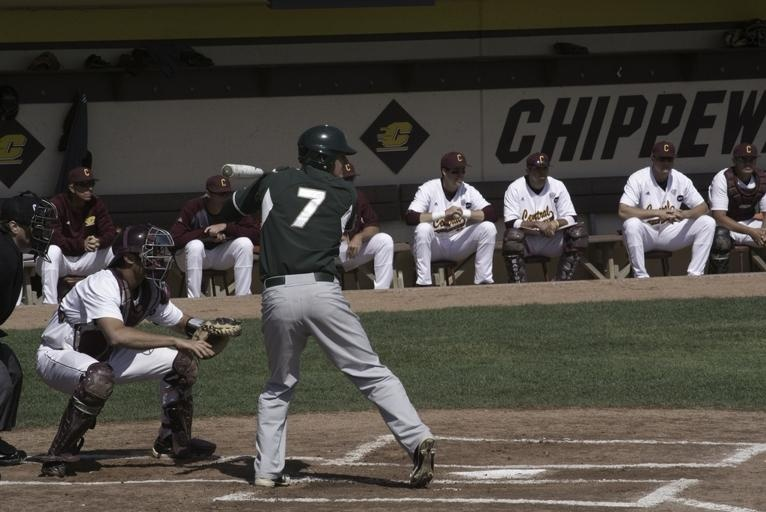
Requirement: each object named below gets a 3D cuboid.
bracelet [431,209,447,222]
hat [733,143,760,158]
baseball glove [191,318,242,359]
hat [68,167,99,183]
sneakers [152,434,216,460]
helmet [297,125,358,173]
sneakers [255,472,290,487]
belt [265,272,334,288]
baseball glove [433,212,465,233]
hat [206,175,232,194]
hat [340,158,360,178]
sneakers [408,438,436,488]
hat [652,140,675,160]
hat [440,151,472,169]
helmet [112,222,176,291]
[{"bbox_3d":[0.645,-0.442,16.883,0.160,0.088,0.069,-12,-21,17],"label":"bracelet"},{"bbox_3d":[4.334,-1.230,17.420,0.267,0.188,0.250,0,0,10],"label":"hat"},{"bbox_3d":[-1.496,0.709,13.183,0.421,0.290,0.171,-7,19,16],"label":"baseball glove"},{"bbox_3d":[-3.514,-0.896,16.833,0.267,0.139,0.197,-5,3,35],"label":"hat"},{"bbox_3d":[-1.826,1.801,13.312,0.461,0.164,0.253,0,5,-9],"label":"sneakers"},{"bbox_3d":[-0.540,-0.916,13.072,0.494,0.362,0.376,14,-4,-9],"label":"helmet"},{"bbox_3d":[-0.967,1.992,12.707,0.226,0.075,0.131,4,-5,-11],"label":"sneakers"},{"bbox_3d":[-0.728,0.234,12.704,0.629,0.133,0.167,0,0,-4],"label":"belt"},{"bbox_3d":[0.780,-0.356,16.928,0.293,0.096,0.210,-7,4,-31],"label":"baseball glove"},{"bbox_3d":[-1.887,-0.813,16.690,0.360,0.186,0.265,4,10,43],"label":"hat"},{"bbox_3d":[-0.413,-0.983,17.168,0.274,0.190,0.347,0,-3,-19],"label":"hat"},{"bbox_3d":[0.327,1.829,12.677,0.194,0.452,0.236,5,2,-17],"label":"sneakers"},{"bbox_3d":[3.321,-1.219,17.257,0.193,0.138,0.259,1,5,-1],"label":"hat"},{"bbox_3d":[0.804,-1.098,17.103,0.224,0.163,0.296,-5,6,-29],"label":"hat"},{"bbox_3d":[-2.120,0.004,13.056,0.544,0.505,0.470,0,4,-1],"label":"helmet"}]
